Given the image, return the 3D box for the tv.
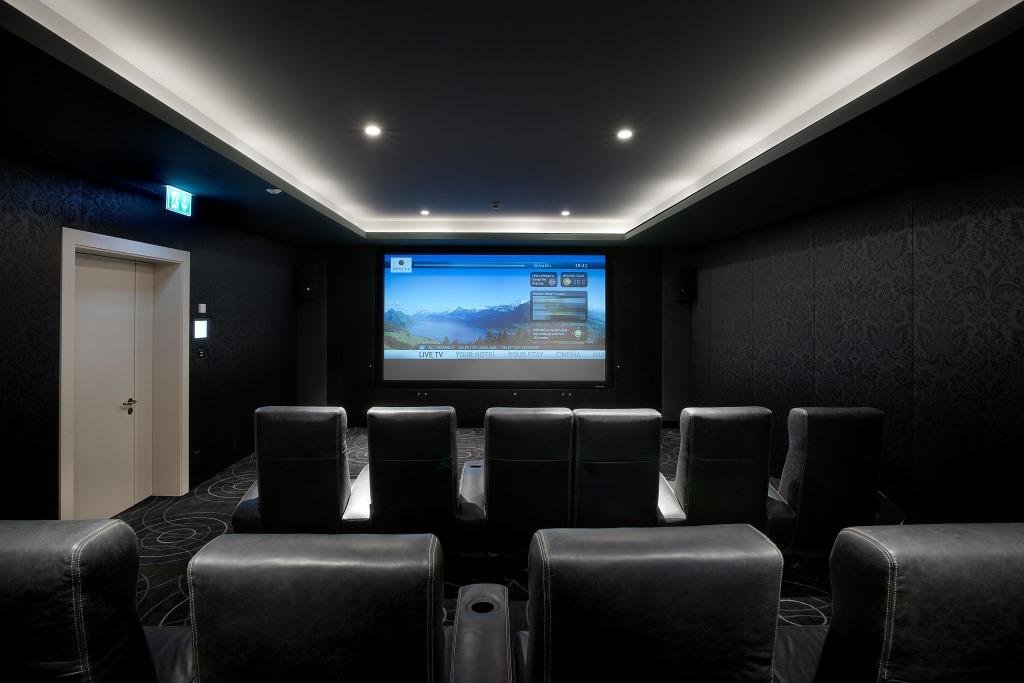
[{"bbox_3d":[-0.225,-0.320,8.828,3.019,1.705,0.192,0,-2,-1],"label":"tv"}]
